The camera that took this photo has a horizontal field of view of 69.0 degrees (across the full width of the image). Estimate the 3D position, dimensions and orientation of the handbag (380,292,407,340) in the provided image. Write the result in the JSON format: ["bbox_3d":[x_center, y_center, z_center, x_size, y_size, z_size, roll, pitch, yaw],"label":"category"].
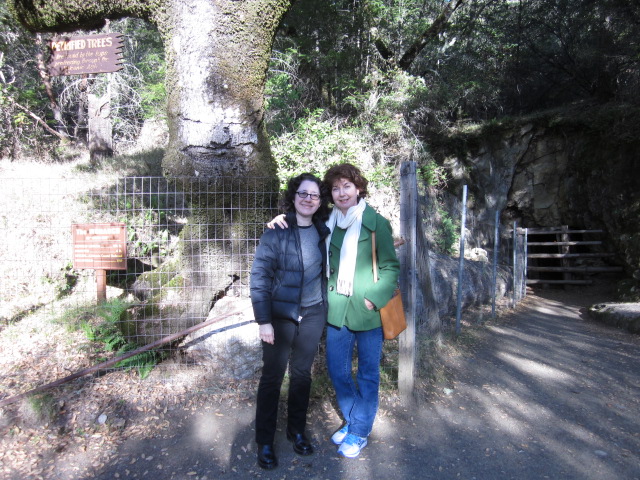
[{"bbox_3d":[0.935,0.968,5.797,0.145,0.503,0.501,-4,6,40],"label":"handbag"}]

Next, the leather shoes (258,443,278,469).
[{"bbox_3d":[-0.609,2.574,5.510,0.231,0.252,0.180,1,12,-12],"label":"leather shoes"}]

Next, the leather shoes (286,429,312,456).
[{"bbox_3d":[-0.248,2.483,5.663,0.169,0.207,0.378,5,-7,-29],"label":"leather shoes"}]

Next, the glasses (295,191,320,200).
[{"bbox_3d":[-0.140,-0.536,5.559,0.273,0.088,0.047,3,12,-9],"label":"glasses"}]

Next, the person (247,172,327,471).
[{"bbox_3d":[-0.347,0.944,5.603,0.964,3.400,0.803,-1,12,-21],"label":"person"}]
